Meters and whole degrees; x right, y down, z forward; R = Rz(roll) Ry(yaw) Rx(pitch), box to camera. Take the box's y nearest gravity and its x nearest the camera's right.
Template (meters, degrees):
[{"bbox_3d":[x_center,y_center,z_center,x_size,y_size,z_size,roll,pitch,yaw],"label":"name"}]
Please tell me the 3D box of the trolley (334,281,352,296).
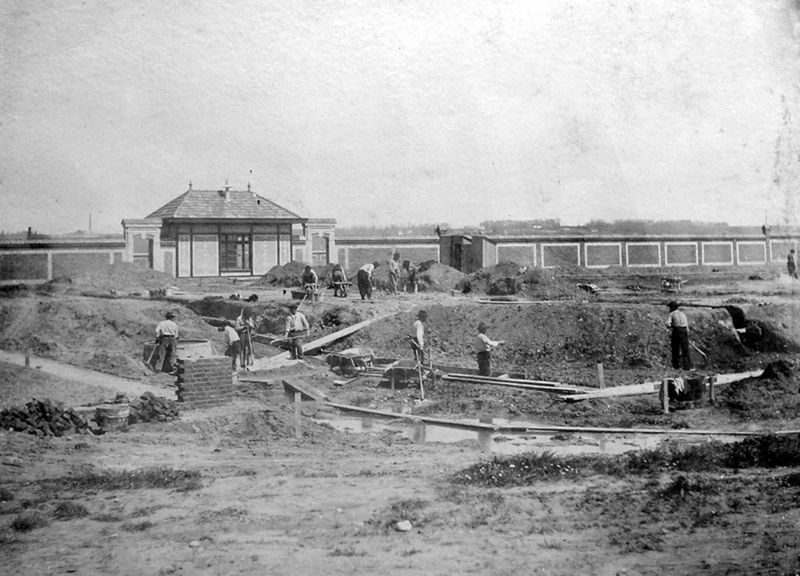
[{"bbox_3d":[-1.085,0.031,19.285,0.278,0.300,0.258,-1,-3,18],"label":"trolley"}]
